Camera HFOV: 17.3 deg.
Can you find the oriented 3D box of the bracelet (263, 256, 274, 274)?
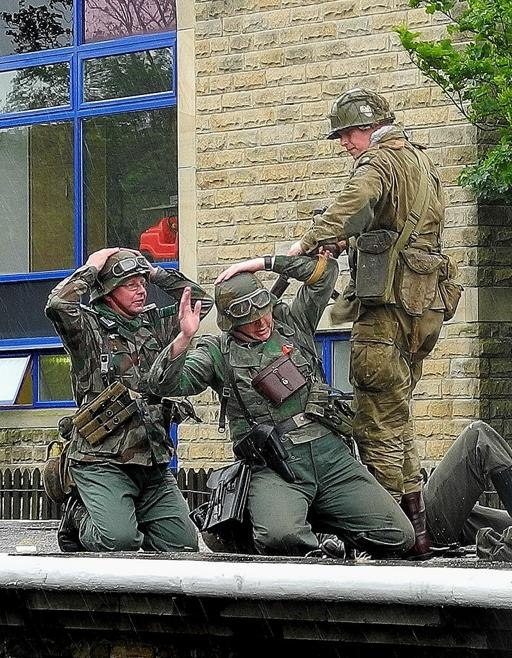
[{"bbox_3d":[0.060,-0.300,7.769,0.043,0.066,0.064,0,5,0],"label":"bracelet"}]

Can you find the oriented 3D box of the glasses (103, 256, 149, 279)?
[{"bbox_3d":[-0.637,-0.297,8.334,0.159,0.056,0.128,-26,-1,35],"label":"glasses"}]

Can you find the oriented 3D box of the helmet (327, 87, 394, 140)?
[{"bbox_3d":[0.500,-1.040,7.987,0.281,0.172,0.203,-3,2,-21],"label":"helmet"}]

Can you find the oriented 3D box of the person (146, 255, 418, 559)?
[{"bbox_3d":[0.154,0.358,7.693,0.910,1.375,0.763,-7,8,-20],"label":"person"}]

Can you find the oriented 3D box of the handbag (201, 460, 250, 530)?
[{"bbox_3d":[-0.132,0.744,7.581,0.245,0.296,0.111,-12,-29,42],"label":"handbag"}]

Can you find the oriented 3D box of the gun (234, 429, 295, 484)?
[{"bbox_3d":[0.045,0.567,7.626,0.245,0.240,0.094,-6,17,35],"label":"gun"}]

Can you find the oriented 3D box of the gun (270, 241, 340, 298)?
[{"bbox_3d":[0.210,-0.295,8.045,0.288,0.276,0.094,22,5,-15],"label":"gun"}]
